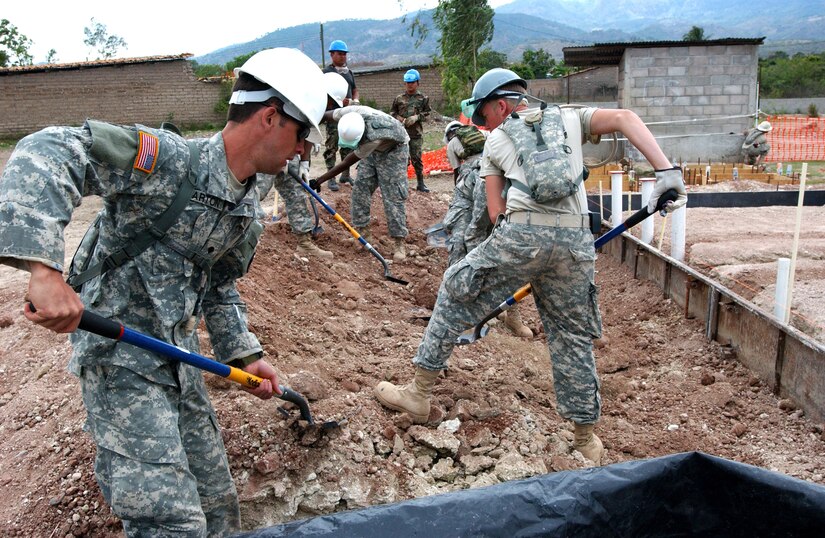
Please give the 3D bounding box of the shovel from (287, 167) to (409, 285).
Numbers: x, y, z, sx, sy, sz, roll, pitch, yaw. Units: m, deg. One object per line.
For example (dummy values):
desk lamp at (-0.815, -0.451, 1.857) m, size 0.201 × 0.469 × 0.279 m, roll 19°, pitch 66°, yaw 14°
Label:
shovel at (-0.692, -0.421, 7.548) m, size 0.397 × 1.887 × 0.219 m, roll -36°, pitch 19°, yaw 55°

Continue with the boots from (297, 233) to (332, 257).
boots at (-0.962, -0.232, 7.365) m, size 0.481 × 0.280 × 0.160 m, roll -1°, pitch 15°, yaw -8°

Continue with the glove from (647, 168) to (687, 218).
glove at (1.602, -0.476, 4.416) m, size 0.116 × 0.291 × 0.230 m, roll -2°, pitch 43°, yaw 38°

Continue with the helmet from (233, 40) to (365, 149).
helmet at (-0.611, -0.893, 3.646) m, size 0.550 × 0.315 × 0.383 m, roll 20°, pitch 12°, yaw -34°

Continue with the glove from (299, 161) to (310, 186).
glove at (-1.155, -0.980, 7.265) m, size 0.076 × 0.244 × 0.176 m, roll 3°, pitch 3°, yaw 33°

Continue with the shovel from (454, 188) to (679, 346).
shovel at (1.167, 0.032, 5.342) m, size 2.413 × 0.383 × 0.351 m, roll -35°, pitch 22°, yaw 27°

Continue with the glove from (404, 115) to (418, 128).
glove at (-0.021, -2.144, 10.245) m, size 0.162 × 0.069 × 0.198 m, roll -17°, pitch 23°, yaw 31°

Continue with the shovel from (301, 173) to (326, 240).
shovel at (-1.072, -0.605, 7.820) m, size 0.132 × 0.455 × 0.480 m, roll -12°, pitch 28°, yaw -8°

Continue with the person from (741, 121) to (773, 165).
person at (8.289, -3.036, 17.067) m, size 0.553 × 1.033 × 1.433 m, roll 0°, pitch 17°, yaw 24°

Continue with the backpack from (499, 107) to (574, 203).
backpack at (0.783, -0.699, 4.248) m, size 0.460 × 0.530 × 0.228 m, roll -19°, pitch -21°, yaw 11°
